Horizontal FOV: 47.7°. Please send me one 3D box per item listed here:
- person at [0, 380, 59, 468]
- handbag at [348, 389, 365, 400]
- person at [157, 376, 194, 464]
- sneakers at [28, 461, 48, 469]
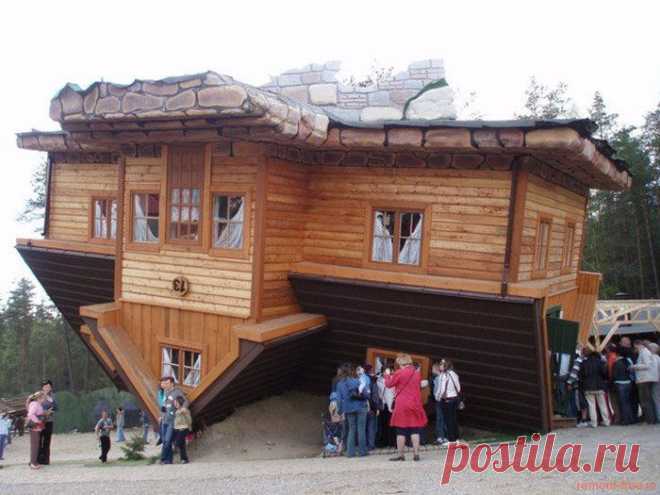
[{"bbox_3d":[-6.034,3.722,15.633,0.596,1.454,1.025,-4,2,-23],"label":"person"},{"bbox_3d":[0.529,2.851,14.340,0.232,0.239,0.108,7,6,-9],"label":"handbag"},{"bbox_3d":[-3.253,3.564,15.499,0.624,1.238,0.969,-4,2,-17],"label":"person"},{"bbox_3d":[-6.076,4.562,15.510,0.261,0.080,0.194,1,-3,-13],"label":"sneakers"}]
